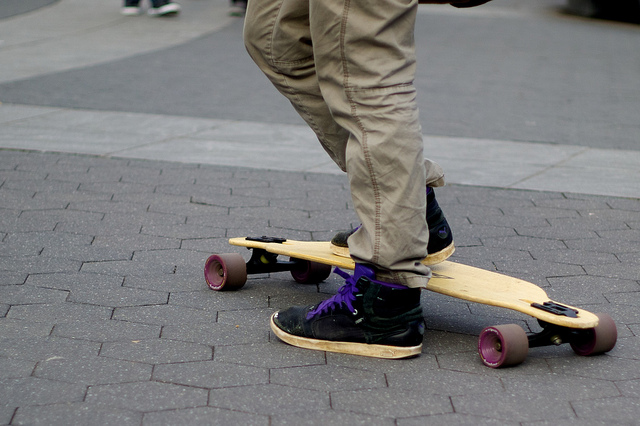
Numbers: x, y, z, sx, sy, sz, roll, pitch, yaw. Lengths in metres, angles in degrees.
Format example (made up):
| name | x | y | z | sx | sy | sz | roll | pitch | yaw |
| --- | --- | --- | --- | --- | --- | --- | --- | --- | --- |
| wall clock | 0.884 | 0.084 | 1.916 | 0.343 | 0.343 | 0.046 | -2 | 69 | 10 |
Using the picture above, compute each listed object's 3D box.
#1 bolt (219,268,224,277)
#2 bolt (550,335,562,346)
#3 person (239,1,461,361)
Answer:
| name | x | y | z | sx | sy | sz | roll | pitch | yaw |
| --- | --- | --- | --- | --- | --- | --- | --- | --- | --- |
| bolt | -0.580 | 0.344 | 4.385 | 0.012 | 0.039 | 0.049 | -3 | 1 | -36 |
| bolt | 1.201 | 0.646 | 3.829 | 0.059 | 0.046 | 0.038 | 9 | 63 | -52 |
| person | 0.142 | -0.194 | 3.947 | 1.211 | 1.782 | 1.368 | 4 | 38 | 8 |
